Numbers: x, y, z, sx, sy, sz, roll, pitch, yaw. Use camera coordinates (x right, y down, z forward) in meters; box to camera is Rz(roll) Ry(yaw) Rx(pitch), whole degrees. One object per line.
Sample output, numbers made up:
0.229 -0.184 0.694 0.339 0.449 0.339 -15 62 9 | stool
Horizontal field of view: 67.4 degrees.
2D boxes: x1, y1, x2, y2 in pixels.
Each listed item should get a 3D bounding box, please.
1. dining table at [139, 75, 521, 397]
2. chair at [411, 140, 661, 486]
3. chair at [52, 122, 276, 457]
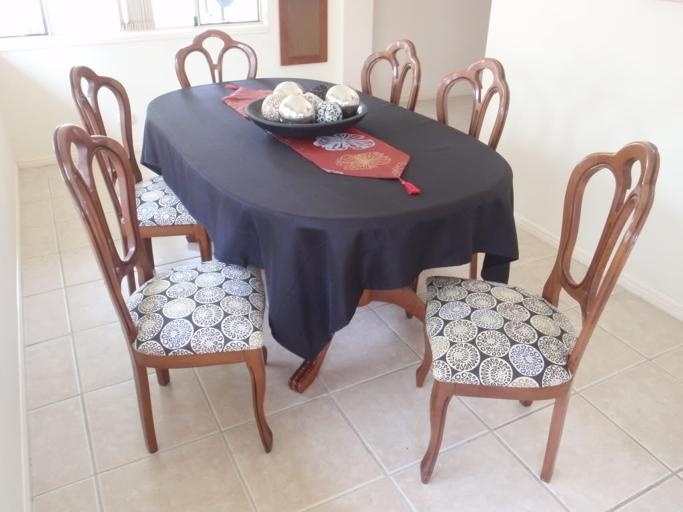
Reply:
-0.156 -0.280 2.194 1.057 0.513 1.633 -20 40 -27 | dining table
0.631 0.213 2.000 0.734 1.302 0.734 12 31 22 | chair
-0.593 0.137 2.080 0.756 1.281 0.748 -15 32 -30 | chair
